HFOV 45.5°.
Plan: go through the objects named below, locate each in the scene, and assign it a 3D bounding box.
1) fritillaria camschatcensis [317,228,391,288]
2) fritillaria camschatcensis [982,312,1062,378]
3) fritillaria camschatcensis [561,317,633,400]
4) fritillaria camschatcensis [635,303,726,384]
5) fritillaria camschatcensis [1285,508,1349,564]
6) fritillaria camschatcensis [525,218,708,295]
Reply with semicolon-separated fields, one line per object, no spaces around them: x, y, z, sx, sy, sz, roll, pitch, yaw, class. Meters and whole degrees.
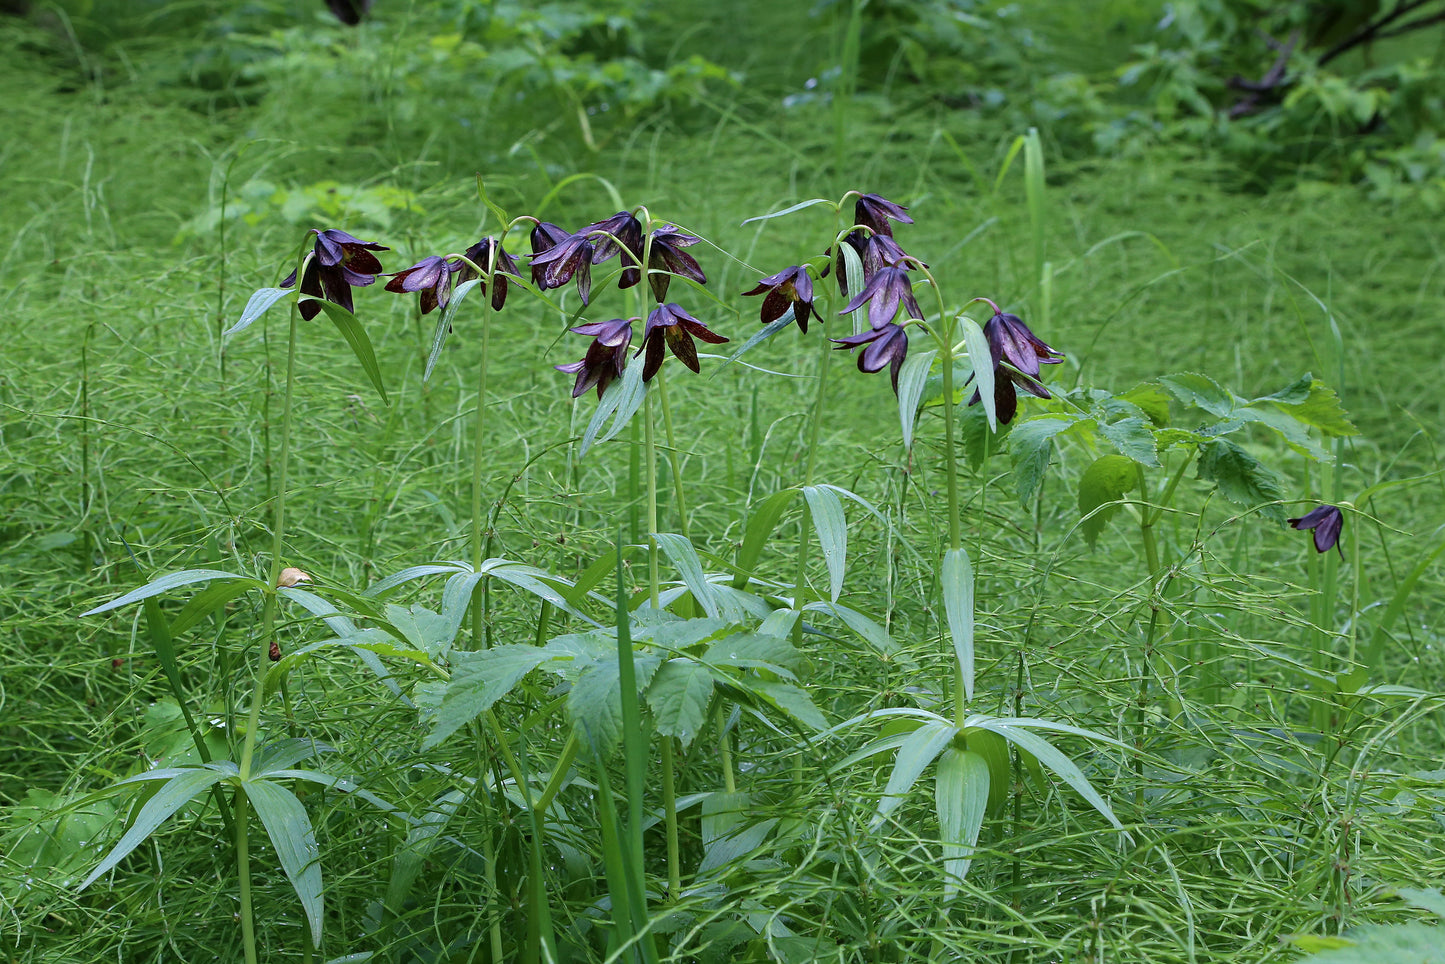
-0.707;-0.412;3.279;0.113;0.114;0.050;-30;18;-32;fritillaria camschatcensis
0.570;-0.251;3.255;0.151;0.115;0.089;1;37;1;fritillaria camschatcensis
-0.228;-0.226;3.255;0.123;0.171;0.145;11;39;13;fritillaria camschatcensis
-0.076;-0.269;3.228;0.141;0.148;0.080;-6;43;-15;fritillaria camschatcensis
1.311;0.123;3.779;0.080;0.075;0.130;52;33;8;fritillaria camschatcensis
-0.204;-0.438;3.308;0.209;0.101;0.203;13;-1;-42;fritillaria camschatcensis
